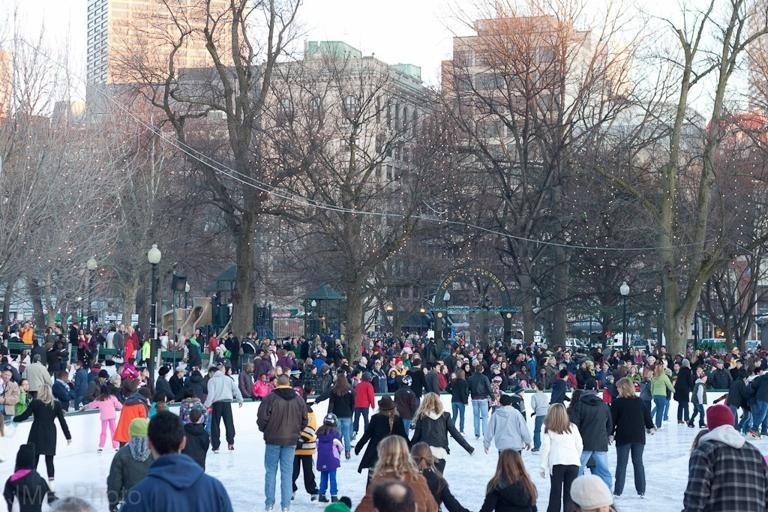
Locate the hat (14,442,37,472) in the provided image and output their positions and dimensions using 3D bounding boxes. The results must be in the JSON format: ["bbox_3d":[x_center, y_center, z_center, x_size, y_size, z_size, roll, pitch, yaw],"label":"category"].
[{"bbox_3d":[-9.811,5.547,34.853,0.701,0.803,0.655,3,-4,-17],"label":"hat"}]

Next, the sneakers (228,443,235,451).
[{"bbox_3d":[-5.279,6.639,43.736,0.178,0.211,0.212,1,-11,0],"label":"sneakers"}]

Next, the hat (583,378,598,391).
[{"bbox_3d":[6.157,3.921,38.216,0.317,0.376,0.372,6,4,31],"label":"hat"}]

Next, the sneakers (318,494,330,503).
[{"bbox_3d":[-1.838,7.316,38.121,0.391,0.304,0.136,-1,1,-20],"label":"sneakers"}]

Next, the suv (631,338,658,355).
[{"bbox_3d":[15.517,5.480,76.176,1.759,0.996,1.073,5,0,12],"label":"suv"}]

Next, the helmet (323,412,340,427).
[{"bbox_3d":[-1.652,4.946,38.025,0.285,0.346,0.354,3,4,10],"label":"helmet"}]

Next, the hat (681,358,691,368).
[{"bbox_3d":[11.811,4.282,50.101,0.348,0.308,0.300,-4,3,7],"label":"hat"}]

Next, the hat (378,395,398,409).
[{"bbox_3d":[0.078,4.380,37.615,0.451,0.455,0.408,2,-8,-8],"label":"hat"}]

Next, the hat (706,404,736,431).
[{"bbox_3d":[8.528,4.123,32.350,0.668,0.679,0.538,-2,0,11],"label":"hat"}]
